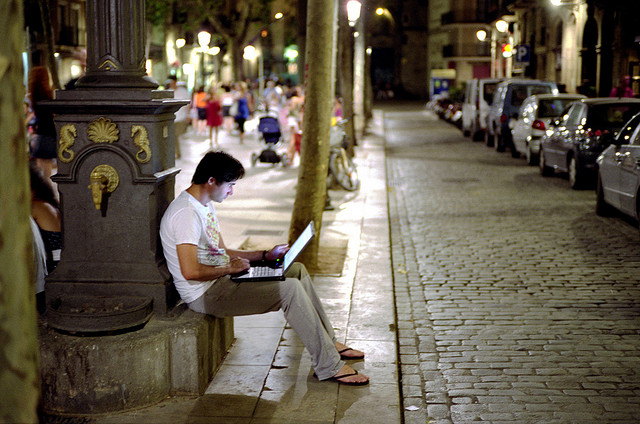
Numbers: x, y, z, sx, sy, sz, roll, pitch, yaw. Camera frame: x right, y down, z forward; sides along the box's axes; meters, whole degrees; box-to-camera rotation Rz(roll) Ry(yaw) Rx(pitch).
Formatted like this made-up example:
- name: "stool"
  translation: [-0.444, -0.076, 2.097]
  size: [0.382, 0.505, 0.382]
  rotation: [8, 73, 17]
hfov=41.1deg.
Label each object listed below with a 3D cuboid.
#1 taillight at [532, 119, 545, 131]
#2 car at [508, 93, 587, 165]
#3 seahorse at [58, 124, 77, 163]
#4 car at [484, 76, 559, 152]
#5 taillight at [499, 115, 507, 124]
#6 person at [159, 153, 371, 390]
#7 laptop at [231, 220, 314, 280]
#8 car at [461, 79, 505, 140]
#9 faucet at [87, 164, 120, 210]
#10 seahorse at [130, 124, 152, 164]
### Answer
- name: "taillight"
  translation: [5.096, -2.037, 19.812]
  size: [0.097, 0.215, 0.361]
  rotation: [-7, 13, -26]
- name: "car"
  translation: [5.553, -2.226, 20.813]
  size: [1.411, 1.037, 2.242]
  rotation: [-2, 14, 1]
- name: "seahorse"
  translation: [-1.935, -0.530, 6.554]
  size: [0.131, 0.292, 0.057]
  rotation: [3, 13, 18]
- name: "car"
  translation: [5.916, -3.089, 25.152]
  size: [1.660, 1.433, 2.818]
  rotation: [-1, 12, 6]
- name: "taillight"
  translation: [5.175, -2.634, 24.120]
  size: [0.106, 0.255, 0.333]
  rotation: [-4, 12, -13]
- name: "person"
  translation: [-0.514, 0.425, 6.825]
  size: [1.505, 1.822, 0.755]
  rotation: [-1, 12, 0]
- name: "laptop"
  translation: [-0.355, 0.296, 6.965]
  size: [0.537, 0.298, 0.520]
  rotation: [3, 7, 3]
- name: "car"
  translation: [5.594, -3.817, 29.364]
  size: [1.363, 1.149, 2.258]
  rotation: [0, 11, 7]
- name: "faucet"
  translation: [-1.686, -0.194, 6.542]
  size: [0.257, 0.323, 0.180]
  rotation: [5, 17, 7]
- name: "seahorse"
  translation: [-1.364, -0.520, 6.521]
  size: [0.147, 0.296, 0.052]
  rotation: [-2, 12, -6]
